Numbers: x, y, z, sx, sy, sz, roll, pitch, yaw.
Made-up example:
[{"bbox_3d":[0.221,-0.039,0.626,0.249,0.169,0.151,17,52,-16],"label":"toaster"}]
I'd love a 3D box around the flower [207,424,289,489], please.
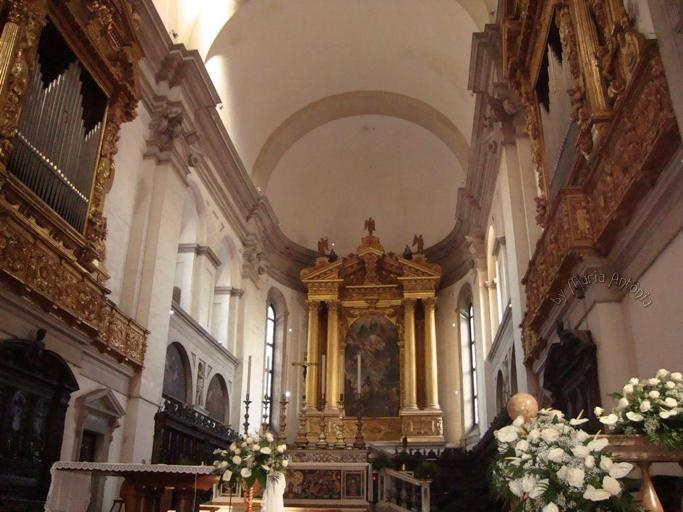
[{"bbox_3d":[-1.261,2.675,7.004,0.807,0.768,1.175,-4,-27,10],"label":"flower"}]
